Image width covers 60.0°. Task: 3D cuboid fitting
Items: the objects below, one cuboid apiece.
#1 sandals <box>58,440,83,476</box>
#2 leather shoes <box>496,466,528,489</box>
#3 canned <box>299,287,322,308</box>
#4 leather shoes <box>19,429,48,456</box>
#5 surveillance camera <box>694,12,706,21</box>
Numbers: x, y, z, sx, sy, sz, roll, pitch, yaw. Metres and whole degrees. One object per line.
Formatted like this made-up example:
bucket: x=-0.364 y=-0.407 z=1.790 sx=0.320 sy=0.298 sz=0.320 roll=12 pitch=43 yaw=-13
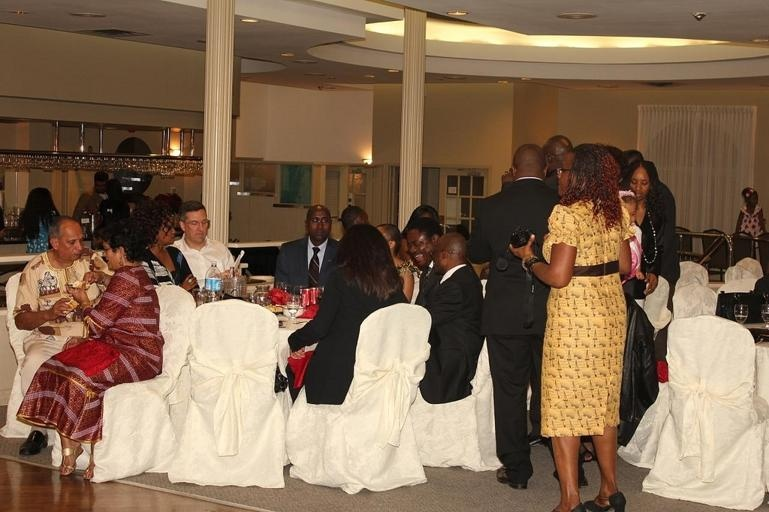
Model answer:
sandals: x=-2.230 y=1.416 z=4.712 sx=0.104 sy=0.122 sz=0.313 roll=1 pitch=-1 yaw=-5
leather shoes: x=0.911 y=1.593 z=4.786 sx=0.115 sy=0.080 sz=0.209 roll=-1 pitch=5 yaw=-29
canned: x=-0.597 y=0.352 z=5.498 sx=0.104 sy=0.189 sz=0.190 roll=2 pitch=-27 yaw=4
leather shoes: x=-2.698 y=1.430 z=5.089 sx=0.106 sy=0.106 sz=0.237 roll=7 pitch=-1 yaw=10
surveillance camera: x=3.450 y=-2.618 z=7.270 sx=0.086 sy=0.037 sz=0.081 roll=0 pitch=-5 yaw=1
